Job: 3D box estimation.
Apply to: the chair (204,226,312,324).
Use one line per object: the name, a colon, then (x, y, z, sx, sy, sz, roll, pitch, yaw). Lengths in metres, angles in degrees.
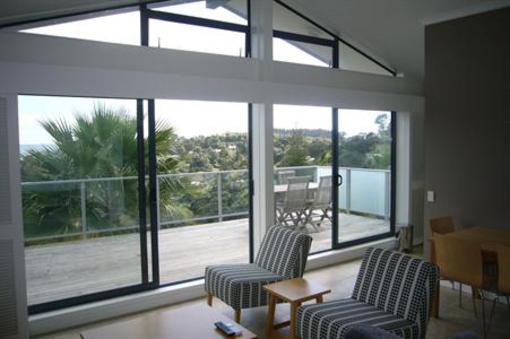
chair: (-0.031, 1.390, 4.952, 1.312, 1.254, 1.232, 4, -2, -29)
